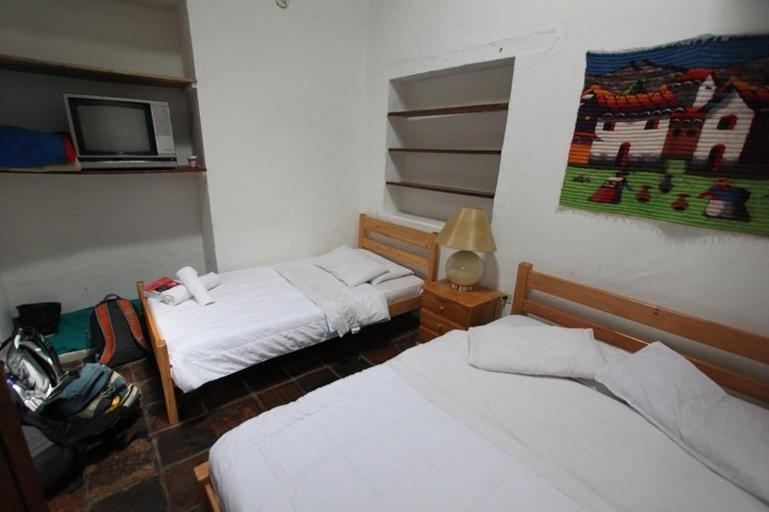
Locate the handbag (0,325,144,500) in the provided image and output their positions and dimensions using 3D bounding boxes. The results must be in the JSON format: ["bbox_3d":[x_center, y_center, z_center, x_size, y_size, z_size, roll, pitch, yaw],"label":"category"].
[{"bbox_3d":[-2.277,1.044,3.405,0.821,0.832,0.667,16,23,43],"label":"handbag"}]

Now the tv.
[{"bbox_3d":[-2.245,-1.104,4.072,0.810,0.568,0.461,-1,16,-7],"label":"tv"}]

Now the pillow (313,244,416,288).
[{"bbox_3d":[-0.323,0.049,4.610,0.463,0.122,0.679,-16,28,-31],"label":"pillow"}]

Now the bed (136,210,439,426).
[{"bbox_3d":[-0.438,0.227,4.298,0.959,0.799,1.732,22,27,34],"label":"bed"}]

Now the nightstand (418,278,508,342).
[{"bbox_3d":[0.652,0.568,4.175,0.502,0.573,0.565,-13,25,-42],"label":"nightstand"}]

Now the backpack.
[{"bbox_3d":[-2.215,0.637,4.146,0.417,0.620,0.620,-12,-1,-25],"label":"backpack"}]

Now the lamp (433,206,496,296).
[{"bbox_3d":[0.736,-0.063,4.063,0.498,0.737,0.505,8,4,-6],"label":"lamp"}]

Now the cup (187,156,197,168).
[{"bbox_3d":[-1.752,-0.859,4.246,0.116,0.107,0.106,8,28,-4],"label":"cup"}]
